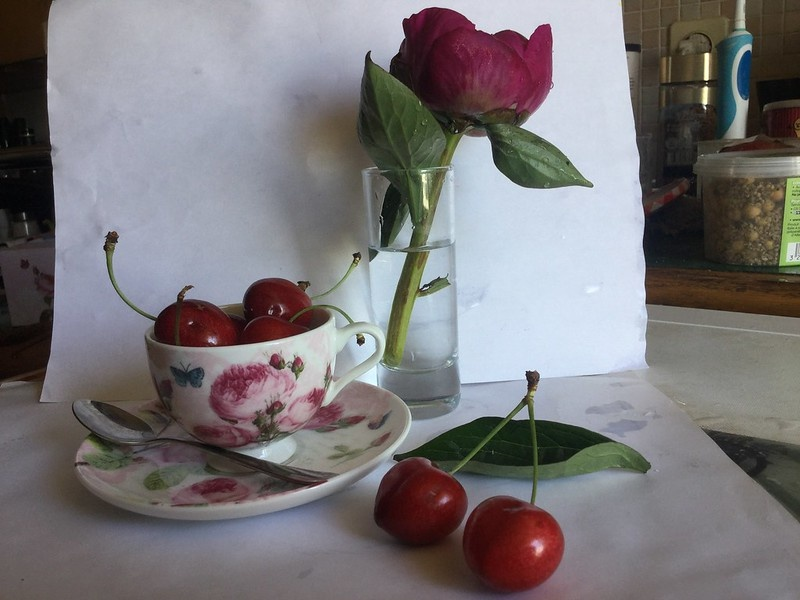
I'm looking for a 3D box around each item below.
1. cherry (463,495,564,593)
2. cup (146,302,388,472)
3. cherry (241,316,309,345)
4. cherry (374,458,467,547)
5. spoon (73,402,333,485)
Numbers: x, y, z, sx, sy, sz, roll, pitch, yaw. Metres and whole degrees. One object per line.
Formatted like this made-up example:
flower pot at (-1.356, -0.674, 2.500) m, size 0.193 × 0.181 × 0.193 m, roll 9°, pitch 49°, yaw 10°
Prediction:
cherry at (0.075, 0.160, 0.400) m, size 0.057 × 0.056 × 0.057 m, roll -1°, pitch -4°, yaw 1°
cup at (-0.122, 0.071, 0.549) m, size 0.152 × 0.085 × 0.123 m, roll -1°, pitch 6°, yaw -12°
cherry at (-0.108, 0.025, 0.502) m, size 0.030 × 0.017 × 0.030 m, roll 5°, pitch -5°, yaw -32°
cherry at (0.022, 0.135, 0.470) m, size 0.060 × 0.062 × 0.060 m, roll 36°, pitch -1°, yaw 14°
spoon at (-0.167, 0.124, 0.520) m, size 0.194 × 0.023 × 0.039 m, roll 12°, pitch 16°, yaw 13°
